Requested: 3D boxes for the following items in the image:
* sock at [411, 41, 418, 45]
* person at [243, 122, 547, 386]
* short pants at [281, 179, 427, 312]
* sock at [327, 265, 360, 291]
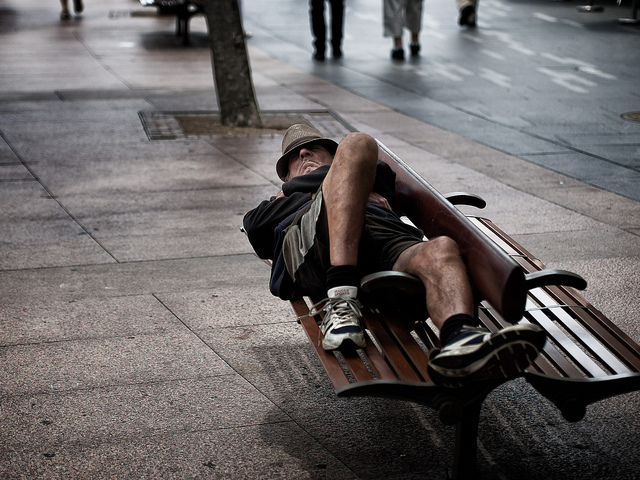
[{"bbox_3d":[2.077,-4.349,13.579,0.090,0.022,0.089,6,8,36],"label":"sock"},{"bbox_3d":[0.186,-0.103,3.678,1.366,1.206,2.793,-4,7,-15],"label":"person"},{"bbox_3d":[0.088,0.035,3.442,0.626,0.318,0.895,-10,31,-38],"label":"short pants"},{"bbox_3d":[0.119,0.192,3.092,0.142,0.119,0.153,0,-12,5],"label":"sock"}]
